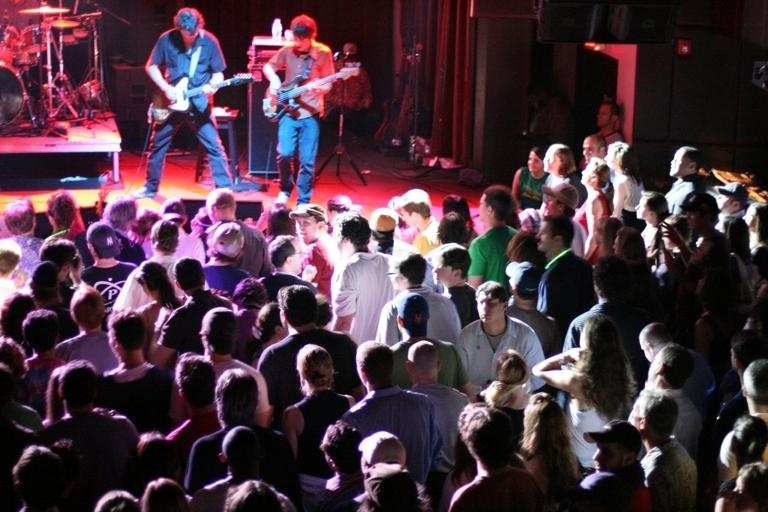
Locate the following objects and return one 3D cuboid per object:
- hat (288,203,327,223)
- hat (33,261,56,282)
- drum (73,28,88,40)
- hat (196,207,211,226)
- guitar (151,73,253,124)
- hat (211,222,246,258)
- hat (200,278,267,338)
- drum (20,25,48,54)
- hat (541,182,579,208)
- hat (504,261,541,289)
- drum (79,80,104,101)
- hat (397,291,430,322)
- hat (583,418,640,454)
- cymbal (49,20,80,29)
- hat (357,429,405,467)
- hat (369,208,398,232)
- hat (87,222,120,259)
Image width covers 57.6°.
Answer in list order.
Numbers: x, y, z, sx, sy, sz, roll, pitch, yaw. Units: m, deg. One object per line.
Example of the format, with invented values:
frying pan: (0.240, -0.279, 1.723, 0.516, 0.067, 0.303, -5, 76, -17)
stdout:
hat: (-0.550, -0.334, 5.266, 0.212, 0.097, 0.140, 15, -16, -31)
hat: (-2.163, 0.106, 4.466, 0.108, 0.128, 0.135, -1, 17, -8)
drum: (-4.738, -3.473, 10.871, 0.172, 0.104, 0.168, 6, 19, -2)
hat: (-1.645, -0.358, 6.307, 0.147, 0.134, 0.264, -1, 6, -19)
guitar: (-2.240, -1.900, 8.375, 1.086, 0.633, 0.433, -1, 6, -19)
hat: (-1.127, -0.112, 4.977, 0.208, 0.243, 0.297, -1, 6, -17)
hat: (-0.875, 0.333, 4.474, 0.241, 0.343, 0.268, 0, 6, -8)
drum: (-5.133, -3.182, 10.275, 0.406, 0.411, 0.401, 9, 18, 31)
hat: (1.570, -0.510, 6.128, 0.283, 0.149, 0.197, 16, 17, 4)
hat: (0.954, 0.115, 4.747, 0.171, 0.159, 0.416, 2, 6, 4)
drum: (-4.620, -2.634, 11.038, 0.487, 0.310, 0.206, 5, 7, 33)
hat: (0.185, 0.307, 4.172, 0.142, 0.172, 0.170, 1, 32, -3)
hat: (1.112, 0.883, 3.377, 0.214, 0.126, 0.142, 22, -1, 7)
cymbal: (-4.694, -3.418, 10.260, 0.225, 0.048, 0.228, 3, 8, 10)
hat: (0.003, 0.921, 3.161, 0.209, 0.183, 0.260, 1, 6, -8)
hat: (0.003, -0.272, 5.274, 0.190, 0.169, 0.279, 1, 6, -2)
hat: (-2.007, -0.109, 4.988, 0.202, 0.255, 0.229, -1, 7, -22)
